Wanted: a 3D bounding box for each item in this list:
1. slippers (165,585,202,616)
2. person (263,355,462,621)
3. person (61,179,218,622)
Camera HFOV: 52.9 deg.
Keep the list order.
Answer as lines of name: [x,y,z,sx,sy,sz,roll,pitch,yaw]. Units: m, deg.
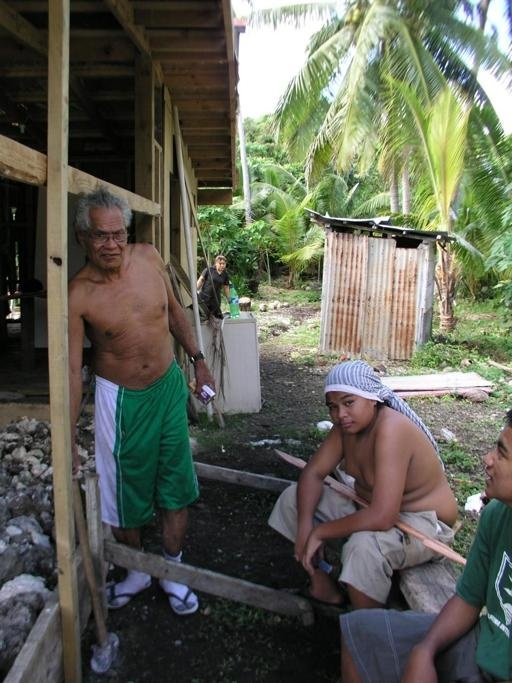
slippers: [-0.336,1.216,2.404,0.112,0.077,0.204,-2,0,-28]
person: [0.435,0.490,2.210,0.630,1.137,0.614,-1,3,-24]
person: [-0.528,0.220,2.455,0.652,1.778,0.751,-1,2,-21]
